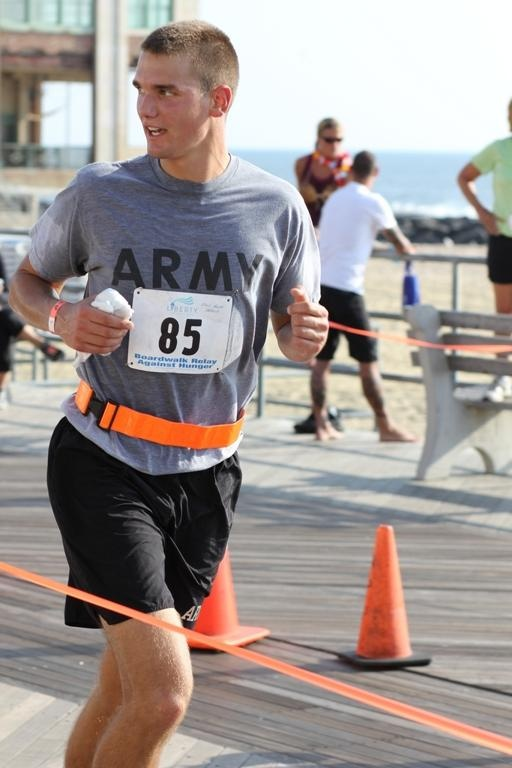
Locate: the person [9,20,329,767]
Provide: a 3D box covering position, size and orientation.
[{"bbox_3d":[-0.153,-0.095,2.115,0.669,1.343,0.543,-2,10,-16],"label":"person"}]

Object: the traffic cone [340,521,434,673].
[{"bbox_3d":[0.432,0.694,3.287,0.301,0.473,0.200,1,9,3],"label":"traffic cone"}]
